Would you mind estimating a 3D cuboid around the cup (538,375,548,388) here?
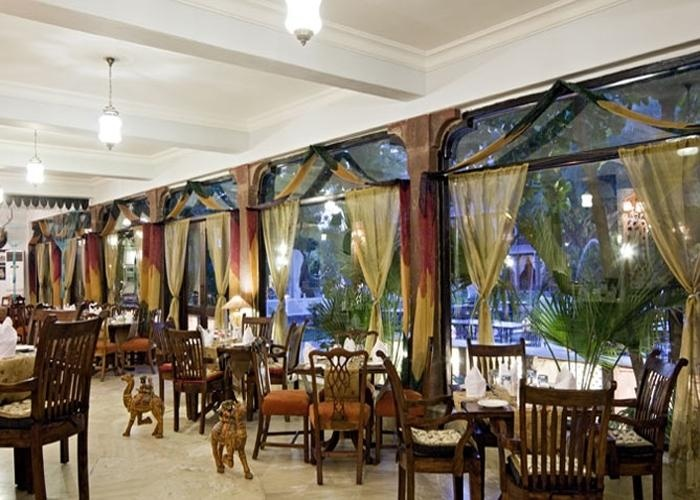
[{"bbox_3d":[1.840,1.239,5.394,0.096,0.110,0.087,3,4,23],"label":"cup"}]
